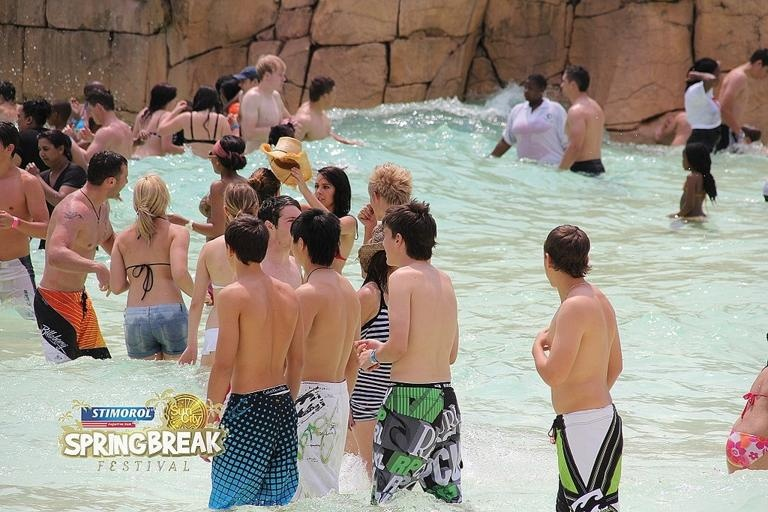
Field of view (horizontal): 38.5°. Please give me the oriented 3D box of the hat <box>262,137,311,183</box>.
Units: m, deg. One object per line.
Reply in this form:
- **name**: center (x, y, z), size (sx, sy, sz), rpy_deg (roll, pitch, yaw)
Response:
- **hat**: center (-1.127, -1.142, 13.098), size (0.485, 0.581, 0.249), rpy_deg (20, 50, 25)

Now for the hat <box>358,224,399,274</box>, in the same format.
- **hat**: center (-0.107, -0.089, 11.484), size (0.126, 0.434, 0.436), rpy_deg (31, 41, 13)

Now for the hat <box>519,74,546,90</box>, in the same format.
- **hat**: center (2.500, -2.858, 18.104), size (0.331, 0.262, 0.448), rpy_deg (1, 6, 0)

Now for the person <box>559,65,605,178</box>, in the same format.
- **person**: center (3.240, -2.194, 17.910), size (0.667, 1.761, 0.783), rpy_deg (2, 5, 9)
